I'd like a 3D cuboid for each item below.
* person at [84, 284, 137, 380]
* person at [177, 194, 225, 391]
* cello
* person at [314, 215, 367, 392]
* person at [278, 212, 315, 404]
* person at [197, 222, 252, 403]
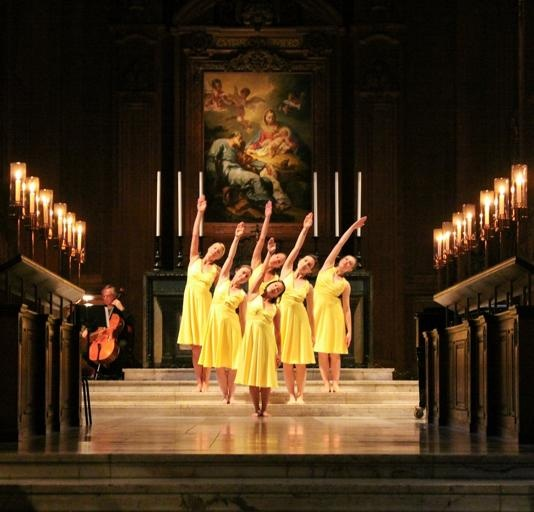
[{"bbox_3d":[-1.903,0.937,16.299,0.483,1.192,0.407,1,0,16],"label":"person"},{"bbox_3d":[-0.566,0.414,15.010,0.578,2.150,0.745,2,-3,-28],"label":"person"},{"bbox_3d":[-1.961,0.903,16.356,0.500,1.288,0.255,-23,-53,12],"label":"cello"},{"bbox_3d":[0.760,0.660,14.844,0.467,2.224,0.411,1,-1,8],"label":"person"},{"bbox_3d":[0.392,0.624,14.508,0.648,1.809,0.586,2,-4,-37],"label":"person"},{"bbox_3d":[-0.395,0.615,14.116,0.594,1.895,0.680,-2,-4,32],"label":"person"}]
